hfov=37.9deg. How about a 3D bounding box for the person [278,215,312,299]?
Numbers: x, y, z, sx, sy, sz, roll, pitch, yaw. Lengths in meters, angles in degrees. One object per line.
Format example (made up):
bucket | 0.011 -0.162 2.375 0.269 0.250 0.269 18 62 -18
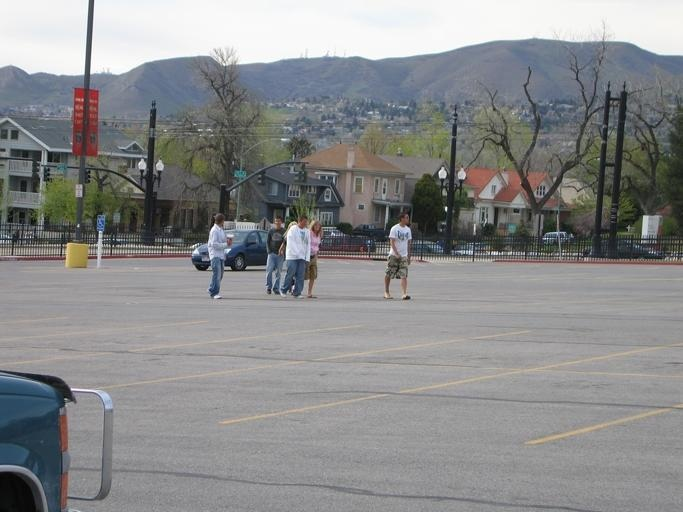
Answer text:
person | -1.047 0.027 22.739 0.674 1.830 1.274 3 0 -2

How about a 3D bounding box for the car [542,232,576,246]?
car | 11.691 -0.857 53.393 1.497 0.880 0.992 2 1 -13

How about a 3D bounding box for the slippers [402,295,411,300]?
slippers | 1.458 0.964 22.453 0.082 0.095 0.194 0 5 -8

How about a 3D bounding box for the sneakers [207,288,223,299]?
sneakers | -2.868 0.869 22.366 0.151 0.219 0.448 1 -1 -33

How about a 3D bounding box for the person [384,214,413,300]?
person | 1.291 0.036 22.398 0.566 1.882 1.046 2 0 3

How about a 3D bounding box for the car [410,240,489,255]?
car | 5.271 -0.296 48.698 3.491 0.726 0.946 4 0 2

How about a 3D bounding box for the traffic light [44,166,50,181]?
traffic light | -14.760 -4.058 49.789 0.246 0.775 1.406 3 0 -19
